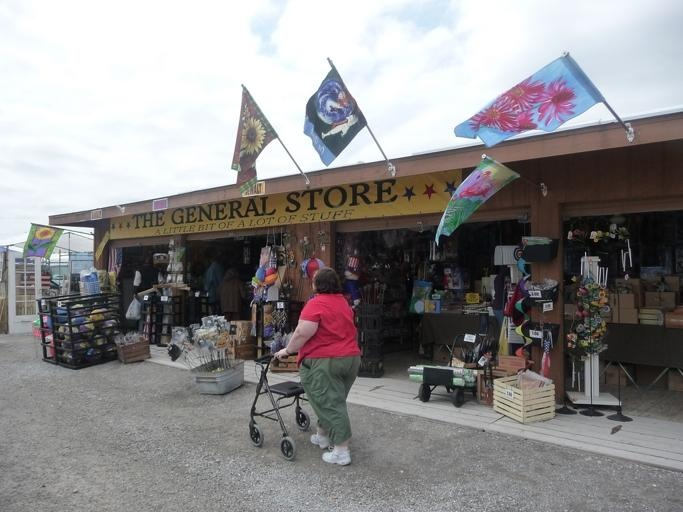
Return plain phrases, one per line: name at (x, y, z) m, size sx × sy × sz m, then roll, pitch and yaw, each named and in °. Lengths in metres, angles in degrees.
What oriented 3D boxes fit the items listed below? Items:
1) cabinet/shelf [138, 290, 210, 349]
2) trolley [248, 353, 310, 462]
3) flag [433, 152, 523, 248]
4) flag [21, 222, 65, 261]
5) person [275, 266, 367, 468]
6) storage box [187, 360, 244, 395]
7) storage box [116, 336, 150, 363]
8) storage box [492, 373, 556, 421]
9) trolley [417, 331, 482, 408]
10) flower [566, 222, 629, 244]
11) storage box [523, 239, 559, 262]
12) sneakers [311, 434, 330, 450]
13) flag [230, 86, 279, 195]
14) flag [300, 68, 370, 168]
cabinet/shelf at (-4.015, 1.380, 11.870) m, size 1.543 × 1.298 × 0.798 m, roll -4°, pitch 7°, yaw -23°
trolley at (-0.763, 1.830, 6.246) m, size 0.651 × 1.033 × 0.841 m, roll -6°, pitch -20°, yaw 19°
flag at (2.142, -0.908, 7.868) m, size 0.653 × 0.292 × 2.043 m, roll 20°, pitch -53°, yaw -14°
flag at (-7.862, -0.374, 13.064) m, size 0.097 × 0.940 × 0.887 m, roll 24°, pitch 4°, yaw 41°
person at (-0.187, 1.111, 5.628) m, size 0.763 × 1.925 × 0.450 m, roll -1°, pitch 6°, yaw 3°
storage box at (-2.151, 1.925, 8.121) m, size 0.502 × 0.338 × 0.746 m, roll -1°, pitch 12°, yaw -13°
storage box at (-4.323, 1.902, 10.316) m, size 0.423 × 0.595 × 0.784 m, roll -10°, pitch -9°, yaw 40°
storage box at (2.521, 1.862, 6.876) m, size 0.657 × 0.597 × 0.684 m, roll -4°, pitch 7°, yaw -24°
trolley at (1.767, 1.701, 7.807) m, size 0.941 × 1.005 × 1.339 m, roll -3°, pitch -9°, yaw 39°
flower at (5.075, -0.443, 9.765) m, size 0.844 × 0.325 × 0.896 m, roll -1°, pitch -1°, yaw 17°
storage box at (2.882, -0.087, 7.242) m, size 0.379 × 0.284 × 0.274 m, roll -3°, pitch -3°, yaw 40°
sneakers at (-0.246, 2.207, 6.005) m, size 0.117 × 0.148 × 0.273 m, roll -1°, pitch 8°, yaw -38°
flag at (-1.616, -2.122, 8.875) m, size 0.930 × 1.869 × 0.243 m, roll 4°, pitch 8°, yaw 41°
flag at (-0.150, -2.220, 7.642) m, size 1.063 × 1.758 × 0.012 m, roll -4°, pitch -15°, yaw 14°
